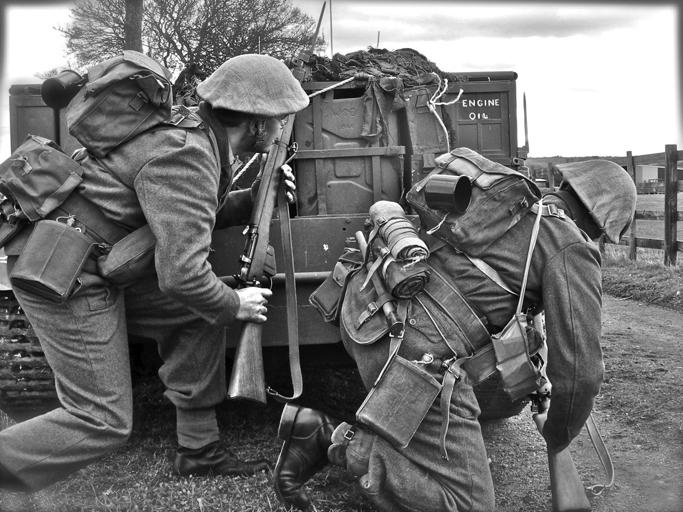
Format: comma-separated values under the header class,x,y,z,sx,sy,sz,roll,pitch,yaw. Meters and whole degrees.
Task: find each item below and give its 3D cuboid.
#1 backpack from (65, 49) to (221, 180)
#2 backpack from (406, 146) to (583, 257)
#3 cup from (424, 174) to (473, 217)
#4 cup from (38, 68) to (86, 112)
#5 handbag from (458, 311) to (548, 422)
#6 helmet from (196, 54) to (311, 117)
class,x,y,z,sx,sy,sz,roll,pitch,yaw
backpack,-1.083,-0.789,3.339,0.609,0.602,0.448,-33,48,-12
backpack,0.704,-0.247,3.092,0.603,0.263,0.583,30,43,8
cup,0.524,-0.300,3.097,0.174,0.179,0.218,7,12,25
cup,-1.557,-0.951,3.631,0.238,0.210,0.176,9,14,-1
handbag,0.946,0.723,3.708,0.569,0.279,0.755,-4,-2,21
helmet,-0.441,-0.884,3.371,0.413,0.166,0.420,-15,27,-42
